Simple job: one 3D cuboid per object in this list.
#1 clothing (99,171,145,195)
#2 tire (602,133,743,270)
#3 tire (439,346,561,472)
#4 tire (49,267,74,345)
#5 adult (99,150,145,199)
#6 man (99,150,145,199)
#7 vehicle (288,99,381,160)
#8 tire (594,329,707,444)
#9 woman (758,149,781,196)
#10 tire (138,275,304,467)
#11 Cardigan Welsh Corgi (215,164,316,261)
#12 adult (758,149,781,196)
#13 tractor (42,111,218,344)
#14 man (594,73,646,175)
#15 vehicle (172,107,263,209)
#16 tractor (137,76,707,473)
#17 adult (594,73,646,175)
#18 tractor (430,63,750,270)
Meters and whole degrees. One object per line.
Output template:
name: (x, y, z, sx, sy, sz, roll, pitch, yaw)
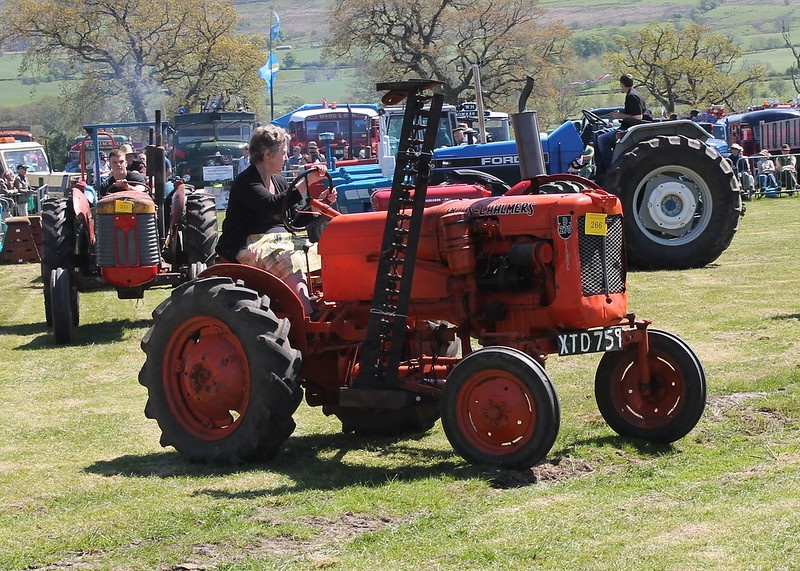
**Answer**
clothing: (-3.678, -1.359, 10.657, 0.554, 0.191, 0.415, -7, 4, 39)
tire: (3.999, -1.199, 11.957, 1.979, 1.851, 0.649, -7, 1, 5)
tire: (0.615, 0.764, 5.090, 0.754, 0.750, 0.174, -1, 4, 28)
tire: (-3.906, 0.249, 9.279, 0.219, 0.828, 0.467, -4, 4, -25)
adult: (-3.566, -1.362, 10.348, 0.545, 0.525, 0.775, -11, -13, -9)
man: (-3.656, -1.345, 10.323, 0.545, 0.525, 0.775, -11, -13, -9)
vehicle: (-2.509, -5.757, 31.428, 4.091, 2.250, 2.467, -3, 6, 0)
tire: (1.728, 0.713, 5.605, 0.805, 0.832, 0.256, -1, 6, 33)
woman: (10.903, -3.331, 23.938, 0.613, 1.227, 1.438, -1, 4, 24)
tire: (-1.522, 0.648, 5.696, 0.490, 1.388, 1.459, -8, -17, 23)
Cardigan Welsh Corgi: (-1.087, -0.572, 6.510, 0.784, 0.782, 0.752, -3, 8, -32)
adult: (10.936, -3.341, 24.011, 0.613, 1.235, 1.597, -1, 4, 24)
tractor: (-3.329, -0.847, 10.120, 2.289, 2.311, 3.345, -6, 11, -21)
man: (3.556, -2.528, 12.840, 0.943, 1.615, 0.724, -9, -6, 33)
vehicle: (-7.459, -5.194, 31.684, 3.039, 3.579, 6.013, -6, 14, -18)
tractor: (0.182, 0.032, 6.343, 3.943, 2.730, 2.380, -1, 2, 29)
adult: (3.484, -2.516, 12.819, 0.983, 1.680, 0.704, -5, -2, 26)
tractor: (2.866, -1.821, 12.619, 4.209, 1.998, 2.871, 5, 3, 1)
